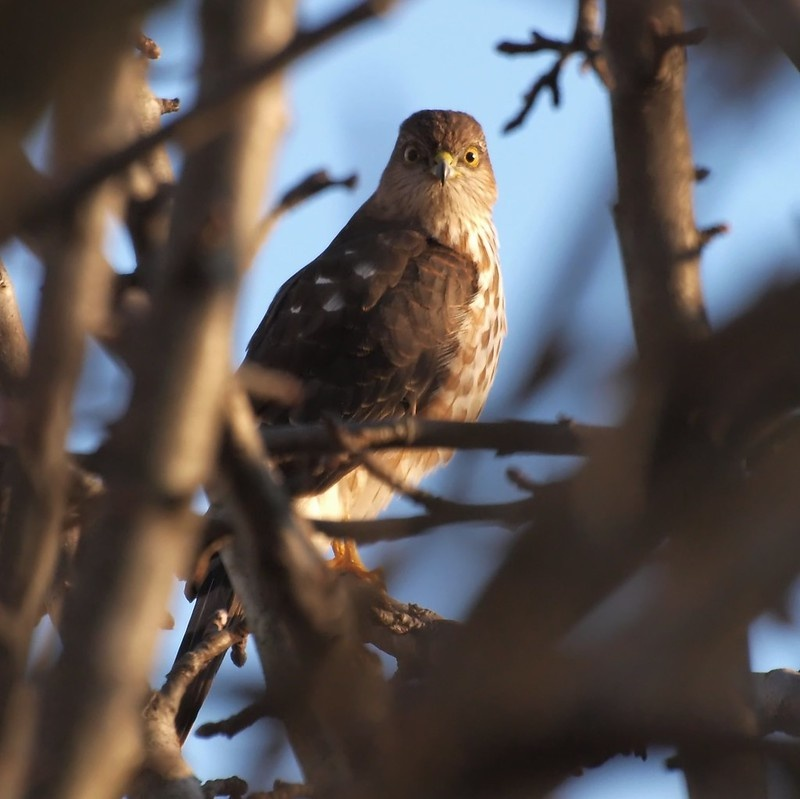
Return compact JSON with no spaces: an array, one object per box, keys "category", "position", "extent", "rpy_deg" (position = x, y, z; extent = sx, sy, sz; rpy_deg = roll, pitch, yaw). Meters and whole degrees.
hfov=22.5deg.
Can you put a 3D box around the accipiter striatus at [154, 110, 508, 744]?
[{"category":"accipiter striatus","position":[-0.187,0.081,6.254],"extent":[0.955,0.741,2.053],"rpy_deg":[6,72,-16]}]
